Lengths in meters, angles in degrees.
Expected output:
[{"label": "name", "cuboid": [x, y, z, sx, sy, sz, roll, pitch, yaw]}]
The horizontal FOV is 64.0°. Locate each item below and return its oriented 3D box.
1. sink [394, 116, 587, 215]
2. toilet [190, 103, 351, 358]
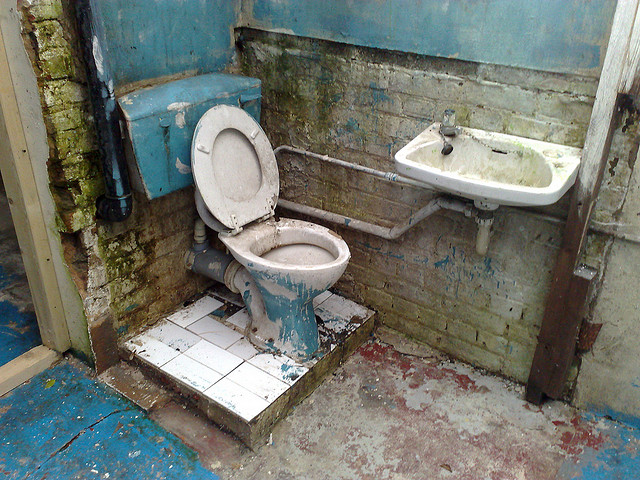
[{"label": "sink", "cuboid": [0.797, -0.345, 2.426, 0.813, 0.233, 0.497, 17, 36, 22]}, {"label": "toilet", "cuboid": [-0.253, -0.043, 2.801, 0.875, 1.201, 0.546, 24, 38, 33]}]
